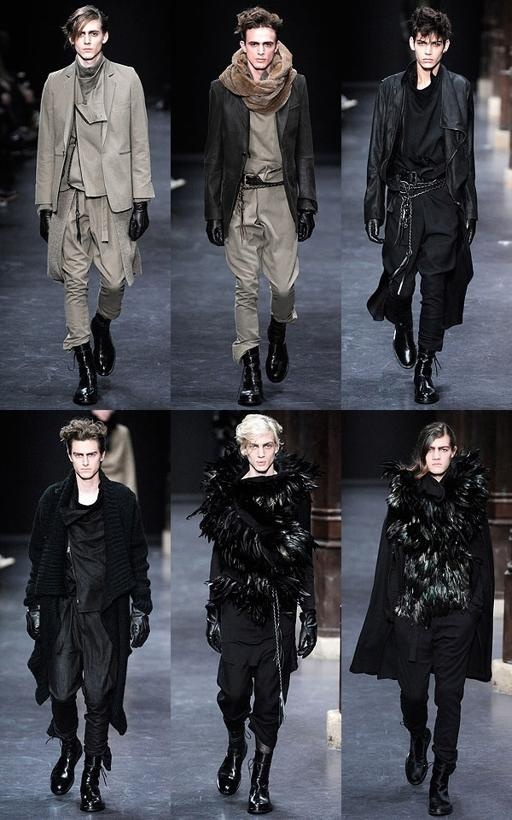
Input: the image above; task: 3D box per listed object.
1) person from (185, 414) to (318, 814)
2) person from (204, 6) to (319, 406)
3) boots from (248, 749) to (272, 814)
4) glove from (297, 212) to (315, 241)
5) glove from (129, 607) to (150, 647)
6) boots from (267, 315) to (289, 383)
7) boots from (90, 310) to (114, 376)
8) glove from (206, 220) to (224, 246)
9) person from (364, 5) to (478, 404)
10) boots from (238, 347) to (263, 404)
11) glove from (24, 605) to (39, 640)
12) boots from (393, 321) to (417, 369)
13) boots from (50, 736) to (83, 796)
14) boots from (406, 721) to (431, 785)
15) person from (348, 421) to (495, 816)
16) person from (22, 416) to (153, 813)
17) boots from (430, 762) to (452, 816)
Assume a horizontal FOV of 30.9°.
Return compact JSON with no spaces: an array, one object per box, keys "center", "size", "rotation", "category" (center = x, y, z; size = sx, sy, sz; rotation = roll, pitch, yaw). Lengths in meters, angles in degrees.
[{"center":[-0.012,0.730,3.344],"size":[0.448,1.424,0.426],"rotation":[-3,-4,28],"category":"person"},{"center":[0.054,-0.793,4.170],"size":[0.464,1.528,0.850],"rotation":[-2,-3,19],"category":"person"},{"center":[0.016,1.304,3.299],"size":[0.086,0.227,0.143],"rotation":[-1,-3,-1],"category":"boots"},{"center":[0.212,-0.835,4.193],"size":[0.047,0.119,0.091],"rotation":[8,11,16],"category":"glove"},{"center":[-0.438,0.817,3.475],"size":[0.106,0.131,0.047],"rotation":[0,-28,1],"category":"glove"},{"center":[0.110,-0.303,4.652],"size":[0.103,0.319,0.139],"rotation":[1,14,4],"category":"boots"},{"center":[-0.773,-0.335,4.700],"size":[0.117,0.317,0.201],"rotation":[-3,20,-4],"category":"boots"},{"center":[-0.177,-0.794,4.133],"size":[0.079,0.101,0.035],"rotation":[-10,19,14],"category":"glove"},{"center":[0.724,-0.832,4.085],"size":[0.490,1.574,0.840],"rotation":[-2,-3,18],"category":"person"},{"center":[-0.017,-0.152,4.271],"size":[0.116,0.264,0.276],"rotation":[1,23,7],"category":"boots"},{"center":[-0.825,0.786,3.431],"size":[0.092,0.109,0.047],"rotation":[-2,-3,-7],"category":"glove"},{"center":[0.776,-0.334,4.805],"size":[0.089,0.248,0.106],"rotation":[-5,11,5],"category":"boots"},{"center":[-0.715,1.349,3.490],"size":[0.090,0.237,0.138],"rotation":[13,-39,-1],"category":"boots"},{"center":[0.624,1.319,3.531],"size":[0.082,0.241,0.103],"rotation":[5,-21,14],"category":"boots"},{"center":[0.649,0.744,3.482],"size":[0.369,1.369,0.478],"rotation":[1,-4,-34],"category":"person"},{"center":[-0.666,0.744,3.405],"size":[0.472,1.405,0.440],"rotation":[-3,-4,27],"category":"person"},{"center":[0.642,1.330,3.230],"size":[0.080,0.159,0.169],"rotation":[0,0,4],"category":"boots"}]
